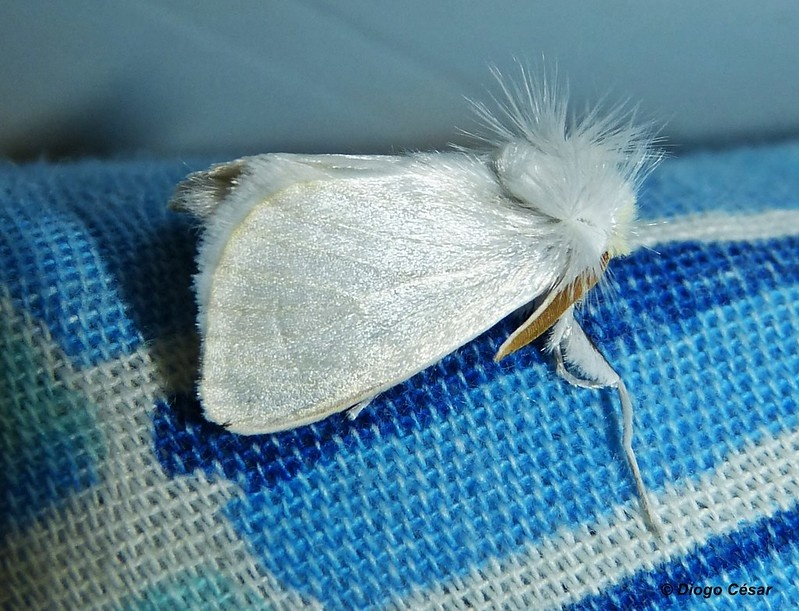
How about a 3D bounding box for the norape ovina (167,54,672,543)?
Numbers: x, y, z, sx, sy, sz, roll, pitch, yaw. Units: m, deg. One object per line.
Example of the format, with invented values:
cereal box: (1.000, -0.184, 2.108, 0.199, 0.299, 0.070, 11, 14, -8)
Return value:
norape ovina: (0.033, -0.040, 1.045, 0.422, 0.299, 0.508, 3, 23, 0)
